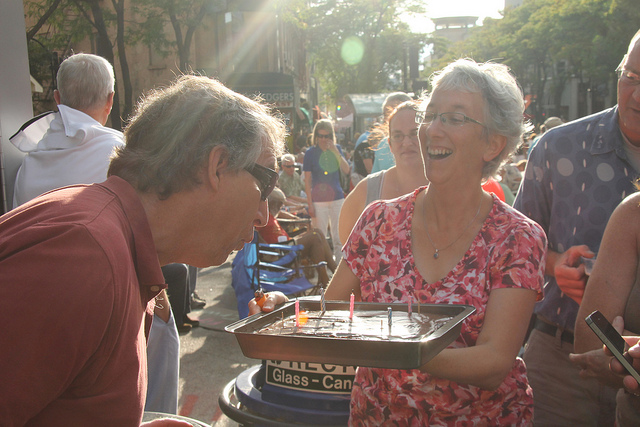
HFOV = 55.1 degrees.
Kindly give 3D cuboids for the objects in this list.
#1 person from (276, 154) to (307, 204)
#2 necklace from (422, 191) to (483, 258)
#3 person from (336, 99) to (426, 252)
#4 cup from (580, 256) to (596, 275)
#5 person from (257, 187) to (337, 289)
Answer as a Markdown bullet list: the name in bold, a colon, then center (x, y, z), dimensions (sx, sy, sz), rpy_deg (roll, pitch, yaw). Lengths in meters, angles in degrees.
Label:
- **person**: center (-0.596, -0.738, 13.749), dimensions (0.611, 1.061, 0.939), rpy_deg (-7, 11, -5)
- **necklace**: center (0.727, 0.067, 3.390), dimensions (0.332, 0.312, 0.236), rpy_deg (1, 11, 14)
- **person**: center (0.598, -0.539, 5.862), dimensions (0.545, 0.557, 1.812), rpy_deg (25, -9, -3)
- **cup**: center (1.540, 0.295, 3.561), dimensions (0.092, 0.122, 0.104), rpy_deg (-2, 4, 41)
- **person**: center (-0.364, 0.217, 8.243), dimensions (1.041, 1.566, 0.598), rpy_deg (-6, 39, 8)
